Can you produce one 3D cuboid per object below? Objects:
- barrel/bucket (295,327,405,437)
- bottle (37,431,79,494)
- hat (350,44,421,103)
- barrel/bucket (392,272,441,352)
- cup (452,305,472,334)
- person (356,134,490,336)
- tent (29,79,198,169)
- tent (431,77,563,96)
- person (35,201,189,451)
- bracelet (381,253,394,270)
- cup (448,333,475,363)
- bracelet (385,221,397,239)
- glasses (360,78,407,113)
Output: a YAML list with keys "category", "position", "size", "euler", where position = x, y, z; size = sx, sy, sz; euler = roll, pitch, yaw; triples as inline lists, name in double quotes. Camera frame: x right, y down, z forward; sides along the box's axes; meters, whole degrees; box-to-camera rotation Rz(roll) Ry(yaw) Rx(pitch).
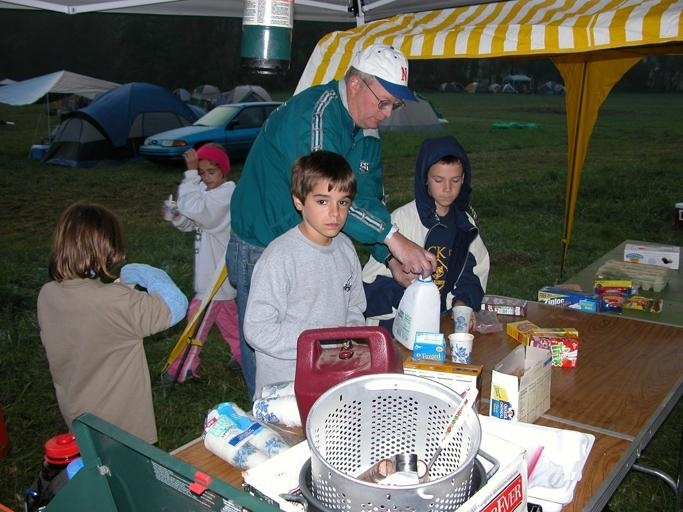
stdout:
- category: "barrel/bucket"
  position: [0.014, 0.334, 1.503]
  size: [0.304, 0.272, 0.317]
  euler: [-4, 8, 1]
- category: "bottle"
  position: [-0.895, 0.673, 1.680]
  size: [0.132, 0.158, 0.132]
  euler: [11, -17, -39]
- category: "hat"
  position: [0.164, -0.744, 2.126]
  size: [0.256, 0.224, 0.273]
  euler: [1, 17, 0]
- category: "barrel/bucket"
  position: [0.300, 0.200, 2.033]
  size: [0.143, 0.280, 0.154]
  euler: [6, 16, -2]
- category: "cup"
  position: [0.509, 0.273, 2.266]
  size: [0.106, 0.117, 0.111]
  euler: [3, -31, 2]
- category: "person"
  position: [0.468, -0.061, 2.667]
  size: [0.593, 1.041, 0.588]
  euler: [4, 3, 19]
- category: "tent"
  position: [-3.333, -1.921, 7.802]
  size: [1.215, 0.614, 1.678]
  euler: [21, 41, 31]
- category: "tent"
  position: [3.105, -3.296, 10.053]
  size: [2.309, 0.371, 0.400]
  euler: [0, 17, -3]
- category: "person"
  position: [-0.911, 0.295, 2.138]
  size: [0.535, 1.001, 0.317]
  euler: [-10, 19, -33]
- category: "bracelet"
  position: [0.212, 0.023, 2.400]
  size: [0.032, 0.057, 0.042]
  euler: [2, -6, 3]
- category: "cup"
  position: [0.444, 0.339, 1.937]
  size: [0.101, 0.092, 0.106]
  euler: [-2, 6, 0]
- category: "bracelet"
  position: [0.209, -0.103, 2.127]
  size: [0.038, 0.055, 0.091]
  euler: [7, 18, 20]
- category: "glasses"
  position: [0.174, -0.629, 2.088]
  size: [0.036, 0.134, 0.125]
  euler: [-23, -8, 26]
